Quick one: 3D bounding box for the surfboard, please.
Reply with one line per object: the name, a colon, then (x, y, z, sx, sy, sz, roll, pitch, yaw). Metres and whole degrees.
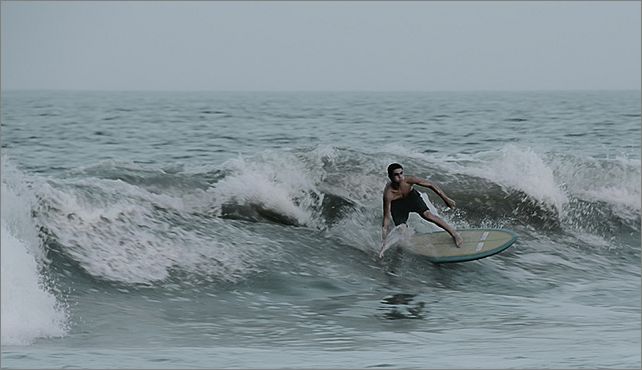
surfboard: (3.601, 1.418, 16.539, 0.294, 0.681, 3.394, -2, -7, -41)

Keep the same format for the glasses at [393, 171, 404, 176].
glasses: (1.839, -0.285, 15.953, 0.226, 0.117, 0.089, 0, 9, -28)
